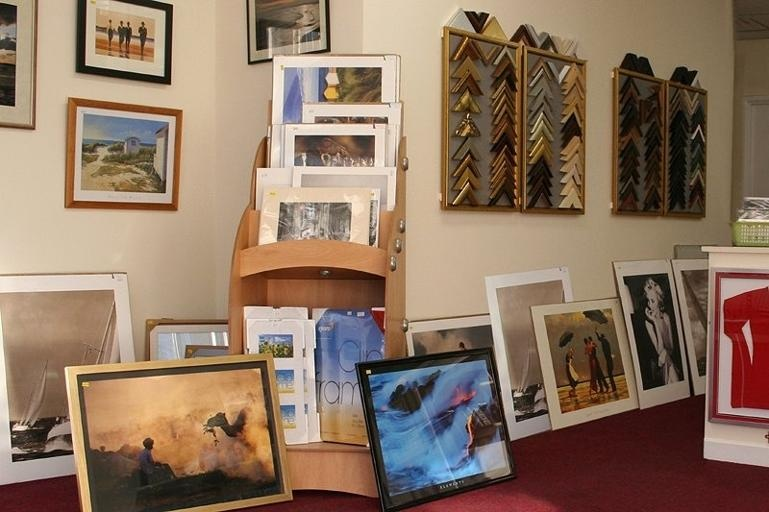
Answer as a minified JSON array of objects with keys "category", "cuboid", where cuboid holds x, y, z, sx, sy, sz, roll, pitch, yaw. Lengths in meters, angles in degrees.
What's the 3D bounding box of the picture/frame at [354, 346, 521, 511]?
[{"category":"picture/frame","cuboid":[0.198,0.749,2.477,0.583,0.554,0.041,-9,-10,-29]}]
